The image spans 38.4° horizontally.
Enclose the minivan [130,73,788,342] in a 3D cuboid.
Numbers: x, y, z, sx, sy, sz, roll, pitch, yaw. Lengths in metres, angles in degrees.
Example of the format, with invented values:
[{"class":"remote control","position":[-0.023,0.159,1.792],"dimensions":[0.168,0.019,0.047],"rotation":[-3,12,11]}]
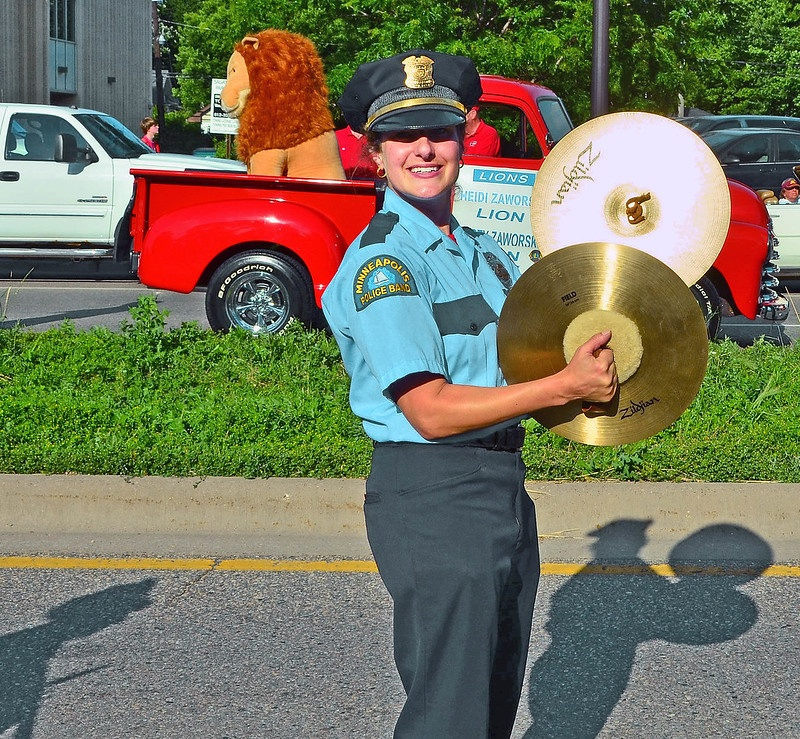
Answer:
[{"class":"minivan","position":[0.497,-1.188,9.514],"dimensions":[5.028,2.209,2.219],"rotation":[0,7,-4]}]

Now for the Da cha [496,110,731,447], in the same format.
[{"class":"Da cha","position":[0.539,-0.259,2.882],"dimensions":[0.527,0.732,0.847],"rotation":[3,15,14]}]

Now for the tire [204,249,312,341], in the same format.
[{"class":"tire","position":[-1.067,-0.582,8.695],"dimensions":[0.714,0.664,0.246],"rotation":[1,14,1]}]
